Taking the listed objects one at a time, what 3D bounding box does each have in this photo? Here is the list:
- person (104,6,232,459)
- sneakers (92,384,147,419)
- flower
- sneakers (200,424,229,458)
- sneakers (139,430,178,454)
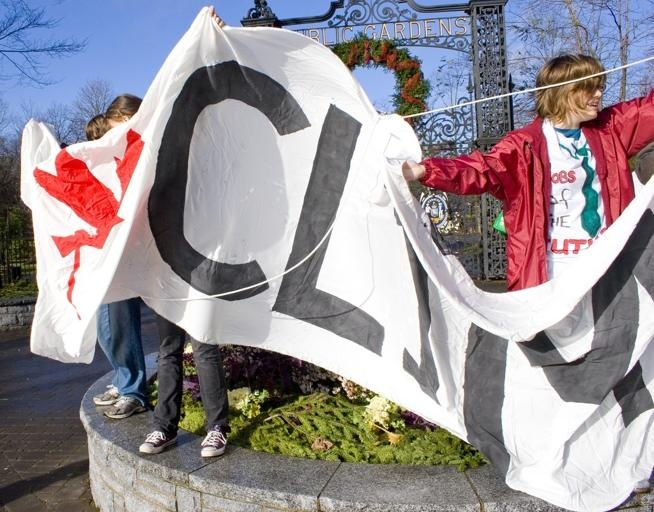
[{"bbox_3d":[-1.160,-0.174,4.638,0.595,2.936,1.281,-6,9,-41],"label":"person"},{"bbox_3d":[-1.614,1.158,5.252,0.192,0.179,0.422,13,-12,13],"label":"sneakers"},{"bbox_3d":[0.927,-3.165,11.400,1.473,0.738,1.631,16,5,7],"label":"flower"},{"bbox_3d":[-0.745,1.224,4.379,0.095,0.115,0.247,-1,-13,5],"label":"sneakers"},{"bbox_3d":[-1.132,1.254,4.487,0.100,0.112,0.254,-3,-10,29],"label":"sneakers"}]
